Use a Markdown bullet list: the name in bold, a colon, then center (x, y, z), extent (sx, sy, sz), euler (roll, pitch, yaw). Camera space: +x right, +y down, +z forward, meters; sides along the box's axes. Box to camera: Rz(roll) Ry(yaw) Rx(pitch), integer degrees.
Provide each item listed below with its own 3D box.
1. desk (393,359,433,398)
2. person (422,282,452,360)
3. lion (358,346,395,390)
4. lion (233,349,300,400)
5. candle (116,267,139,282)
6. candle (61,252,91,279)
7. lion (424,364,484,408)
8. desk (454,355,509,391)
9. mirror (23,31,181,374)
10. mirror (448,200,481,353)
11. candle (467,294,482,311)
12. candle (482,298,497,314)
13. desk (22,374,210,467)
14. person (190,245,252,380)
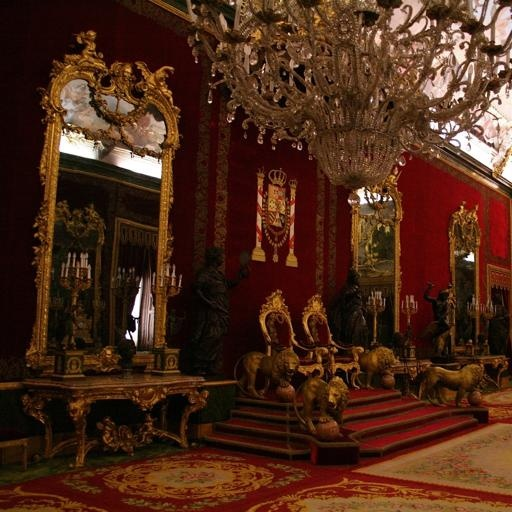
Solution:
- **desk**: center (2.646, 2.097, 8.645), extent (0.676, 0.857, 0.925), euler (-2, -9, 23)
- **person**: center (3.549, 1.271, 9.861), extent (0.629, 1.475, 0.352), euler (1, 5, 6)
- **lion**: center (1.728, 1.733, 7.916), extent (0.809, 0.577, 0.531), euler (0, 6, 1)
- **lion**: center (0.115, 1.375, 6.161), extent (0.847, 0.669, 0.751), euler (5, -5, -31)
- **candle**: center (-1.372, 0.201, 5.426), extent (0.157, 0.200, 0.156), euler (0, -1, 7)
- **candle**: center (-1.734, 0.085, 4.905), extent (0.281, 0.300, 0.372), euler (5, -10, -18)
- **lion**: center (2.882, 1.902, 7.530), extent (1.029, 0.616, 0.238), euler (2, 6, -3)
- **desk**: center (4.493, 2.346, 10.178), extent (1.181, 0.865, 1.678), euler (-2, -11, 24)
- **mirror**: center (-1.635, -0.503, 5.226), extent (1.830, 3.875, 0.370), euler (8, -9, -42)
- **mirror**: center (5.173, 0.445, 12.576), extent (0.456, 3.767, 2.063), euler (-4, -11, 32)
- **candle**: center (5.219, 1.134, 12.245), extent (0.352, 0.473, 0.345), euler (11, -12, -43)
- **candle**: center (5.460, 1.260, 12.022), extent (0.253, 0.359, 0.819), euler (-2, -10, 24)
- **desk**: center (-1.456, 1.384, 4.824), extent (0.860, 0.754, 1.702), euler (-17, -20, 41)
- **person**: center (-0.450, 0.664, 6.048), extent (0.673, 1.486, 0.388), euler (10, -12, -36)
